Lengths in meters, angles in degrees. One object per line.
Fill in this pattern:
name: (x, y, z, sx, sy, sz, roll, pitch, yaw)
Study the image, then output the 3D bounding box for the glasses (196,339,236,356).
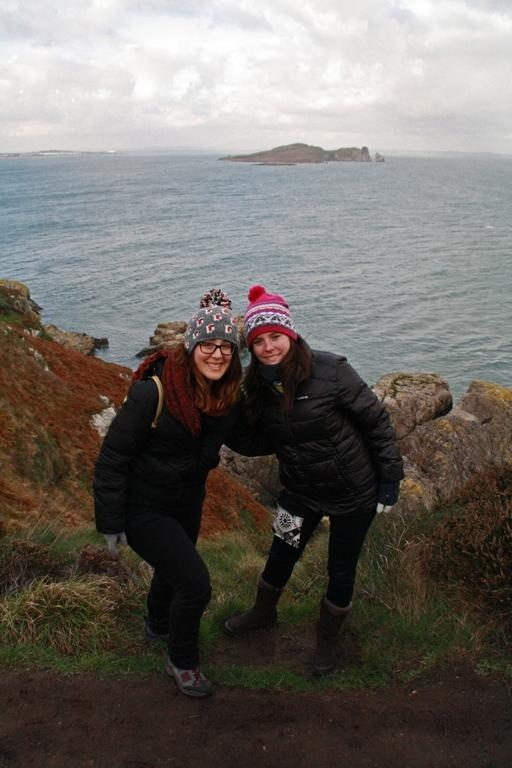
glasses: (-0.251, -0.222, 3.588, 0.222, 0.099, 0.064, 3, 12, -12)

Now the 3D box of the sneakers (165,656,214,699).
sneakers: (-0.450, 1.911, 3.729, 0.330, 0.140, 0.135, 1, -10, 38)

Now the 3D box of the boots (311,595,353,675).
boots: (0.517, 1.876, 4.241, 0.221, 0.461, 0.480, 11, -3, 17)

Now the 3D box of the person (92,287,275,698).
person: (-0.369, 0.721, 3.775, 1.368, 2.459, 1.112, -2, 8, -24)

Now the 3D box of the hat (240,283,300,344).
hat: (0.113, -0.500, 3.986, 0.362, 0.363, 0.278, 1, -10, 22)

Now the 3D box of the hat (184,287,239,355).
hat: (-0.272, -0.431, 3.738, 0.279, 0.353, 0.354, 2, -3, -9)
